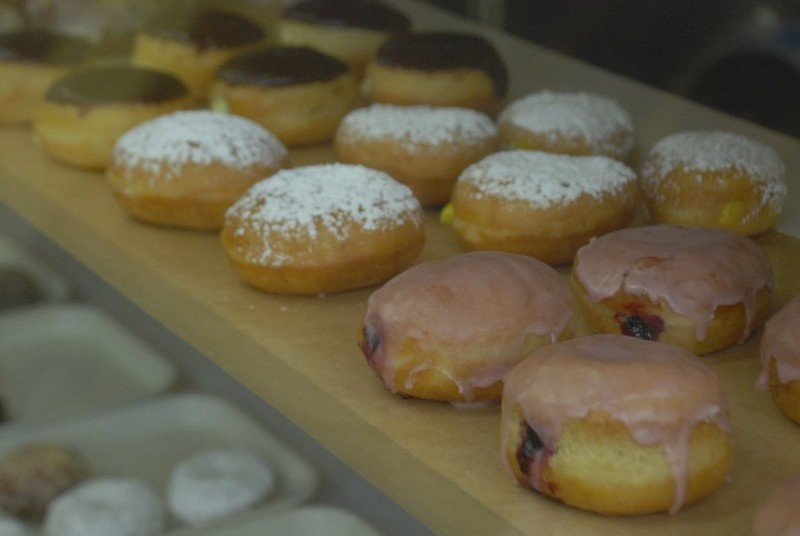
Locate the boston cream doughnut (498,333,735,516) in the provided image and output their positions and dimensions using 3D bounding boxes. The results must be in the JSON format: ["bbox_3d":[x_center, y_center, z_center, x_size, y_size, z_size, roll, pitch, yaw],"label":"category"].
[{"bbox_3d":[0.213,0.144,0.809,0.238,0.122,0.229,-1,11,19],"label":"boston cream doughnut"}]

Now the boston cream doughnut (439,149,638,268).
[{"bbox_3d":[0.175,-0.087,1.016,0.223,0.100,0.171,4,36,9],"label":"boston cream doughnut"}]

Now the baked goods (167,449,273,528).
[{"bbox_3d":[-0.160,0.192,0.742,0.080,0.028,0.063,-15,38,-10],"label":"baked goods"}]

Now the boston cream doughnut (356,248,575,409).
[{"bbox_3d":[0.077,0.054,0.883,0.200,0.124,0.240,15,28,34],"label":"boston cream doughnut"}]

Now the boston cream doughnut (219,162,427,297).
[{"bbox_3d":[-0.091,-0.047,1.007,0.250,0.107,0.189,-20,41,-30],"label":"boston cream doughnut"}]

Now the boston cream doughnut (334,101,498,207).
[{"bbox_3d":[0.017,-0.157,1.145,0.240,0.127,0.183,2,24,10],"label":"boston cream doughnut"}]

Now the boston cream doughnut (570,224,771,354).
[{"bbox_3d":[0.284,0.011,0.852,0.148,0.070,0.151,6,20,35],"label":"boston cream doughnut"}]

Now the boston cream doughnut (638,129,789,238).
[{"bbox_3d":[0.358,-0.103,0.945,0.177,0.098,0.162,-9,20,-21],"label":"boston cream doughnut"}]
